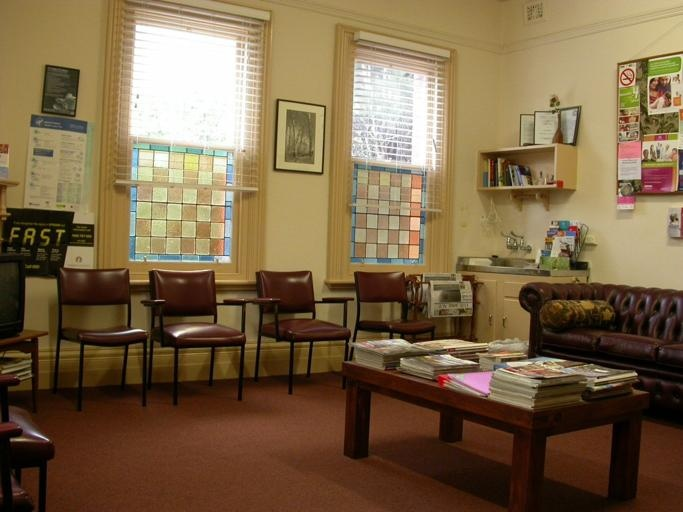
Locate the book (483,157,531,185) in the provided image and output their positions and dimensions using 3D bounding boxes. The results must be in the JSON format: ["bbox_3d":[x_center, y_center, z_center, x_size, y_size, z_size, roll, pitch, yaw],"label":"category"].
[{"bbox_3d":[1.747,-0.862,5.657,0.428,0.435,0.304,1,-3,-6],"label":"book"}]

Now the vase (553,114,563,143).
[{"bbox_3d":[2.176,-1.277,5.361,0.091,0.327,0.189,3,2,34],"label":"vase"}]

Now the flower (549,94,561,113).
[{"bbox_3d":[2.186,-1.569,5.491,0.119,0.203,0.134,3,3,37],"label":"flower"}]

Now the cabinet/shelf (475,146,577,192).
[{"bbox_3d":[1.921,-0.896,5.574,0.366,0.442,0.950,0,3,-42],"label":"cabinet/shelf"}]

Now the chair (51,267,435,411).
[{"bbox_3d":[-0.860,0.601,4.379,2.689,0.958,0.865,1,2,-25],"label":"chair"}]

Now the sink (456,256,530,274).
[{"bbox_3d":[1.592,0.099,5.536,0.823,0.171,0.619,3,3,28],"label":"sink"}]

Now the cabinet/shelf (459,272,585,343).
[{"bbox_3d":[1.781,0.499,5.349,0.645,1.115,1.126,3,-3,-30],"label":"cabinet/shelf"}]

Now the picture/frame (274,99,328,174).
[{"bbox_3d":[-0.399,-1.105,4.948,0.678,0.905,0.060,3,-2,-32],"label":"picture/frame"}]
